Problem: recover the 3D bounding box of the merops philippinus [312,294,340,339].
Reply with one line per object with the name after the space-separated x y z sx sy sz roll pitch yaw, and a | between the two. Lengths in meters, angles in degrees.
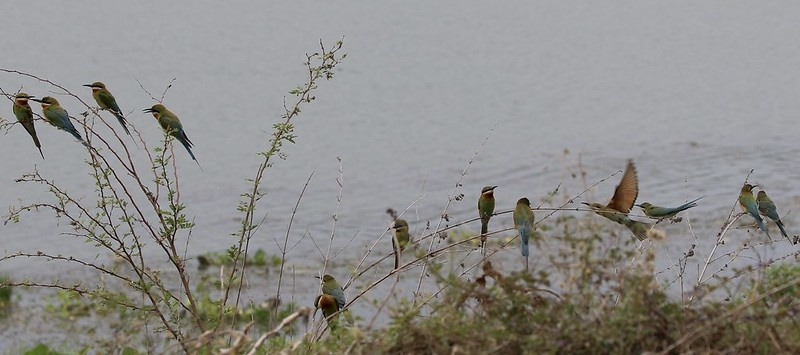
-2.127 3.990 26.910 0.545 1.183 0.486 -1 41 8 | merops philippinus
